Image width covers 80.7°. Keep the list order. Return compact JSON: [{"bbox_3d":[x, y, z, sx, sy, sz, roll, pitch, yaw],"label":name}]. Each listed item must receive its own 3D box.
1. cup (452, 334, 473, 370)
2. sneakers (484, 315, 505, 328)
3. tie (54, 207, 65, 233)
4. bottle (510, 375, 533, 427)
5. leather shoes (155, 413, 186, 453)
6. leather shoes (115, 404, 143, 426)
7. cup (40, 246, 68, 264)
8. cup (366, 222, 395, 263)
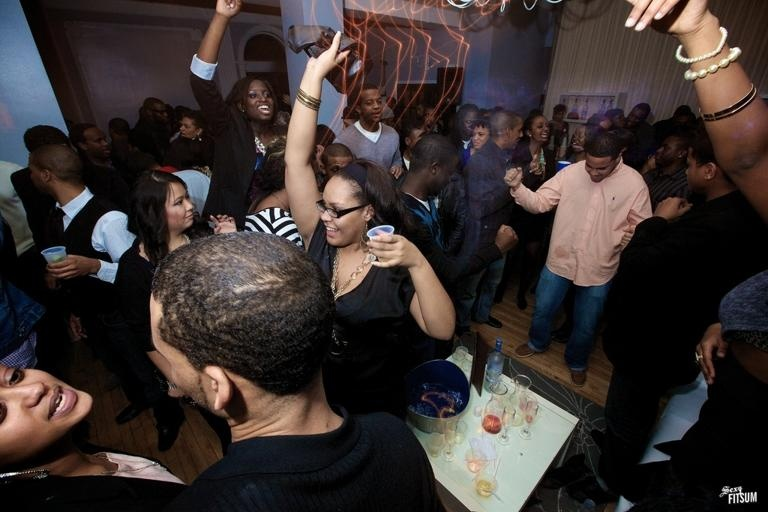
[{"bbox_3d":[0.592,0.669,3.217,0.198,0.083,0.141,-22,55,19],"label":"cup"},{"bbox_3d":[1.127,0.678,4.689,0.078,0.090,0.225,-41,31,-17],"label":"sneakers"},{"bbox_3d":[-2.428,-0.246,3.435,0.056,0.239,0.054,15,19,19],"label":"tie"},{"bbox_3d":[0.891,0.971,3.012,0.144,0.335,0.142,2,-11,0],"label":"bottle"},{"bbox_3d":[-1.670,1.382,3.558,0.105,0.127,0.315,-1,14,-3],"label":"leather shoes"},{"bbox_3d":[-2.092,1.315,3.749,0.146,0.052,0.100,-29,1,-12],"label":"leather shoes"},{"bbox_3d":[-2.171,-0.021,3.013,0.114,0.096,0.125,3,16,-1],"label":"cup"},{"bbox_3d":[-0.014,-0.069,2.416,0.183,0.139,0.187,-4,30,2],"label":"cup"}]
